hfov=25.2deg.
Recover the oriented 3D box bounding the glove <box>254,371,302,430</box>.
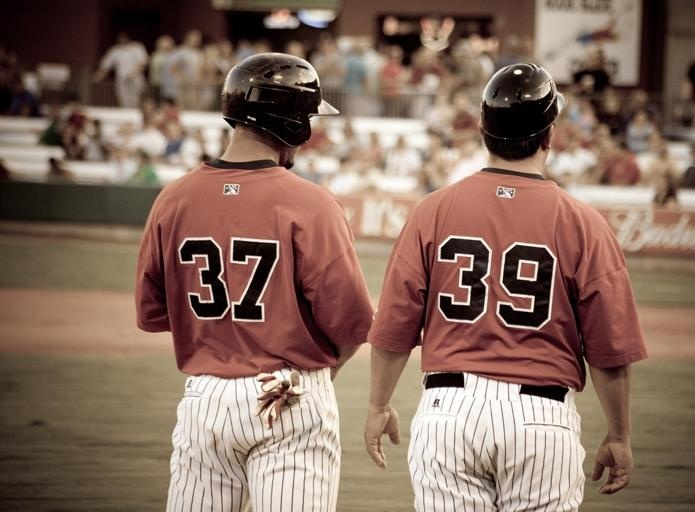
[{"bbox_3d":[-0.728,1.422,15.251,0.523,0.506,0.196,-2,-2,14],"label":"glove"}]
